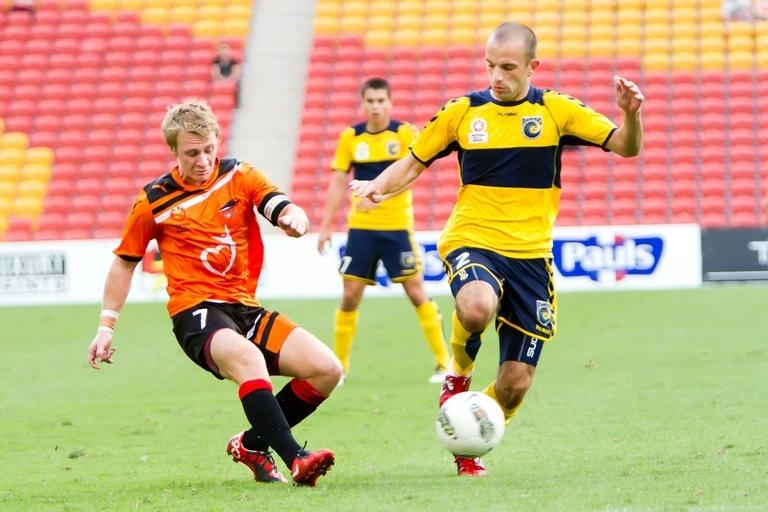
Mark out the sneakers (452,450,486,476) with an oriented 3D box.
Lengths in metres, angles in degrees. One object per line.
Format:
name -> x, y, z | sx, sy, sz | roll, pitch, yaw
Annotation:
sneakers -> 0.764, 1.847, 8.400 | 0.265, 0.240, 0.168 | -7, -1, 2
